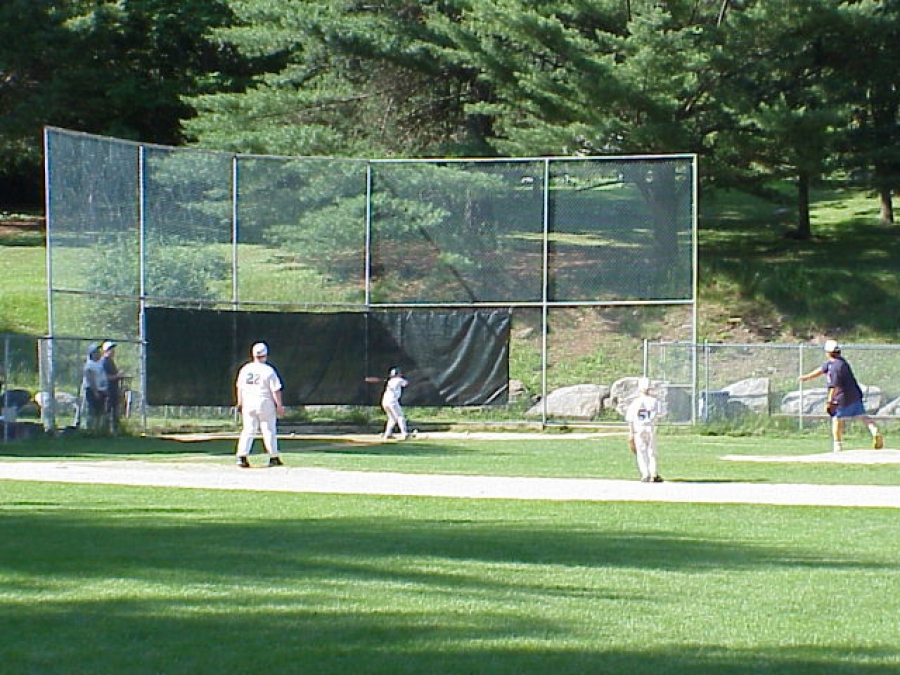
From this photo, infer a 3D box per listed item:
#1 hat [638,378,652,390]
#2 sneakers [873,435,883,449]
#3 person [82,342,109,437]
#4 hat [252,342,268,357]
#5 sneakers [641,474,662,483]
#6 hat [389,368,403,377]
[{"bbox_3d":[5.237,1.276,58.154,0.431,0.386,0.244,5,-9,-37],"label":"hat"},{"bbox_3d":[12.263,3.065,61.839,0.280,0.701,0.298,-3,30,7],"label":"sneakers"},{"bbox_3d":[-10.522,1.459,63.471,0.469,2.495,0.791,1,4,44],"label":"person"},{"bbox_3d":[-5.405,0.338,59.990,0.474,0.373,0.351,-7,3,20],"label":"hat"},{"bbox_3d":[5.415,3.772,57.769,0.597,0.250,0.200,-3,6,-19],"label":"sneakers"},{"bbox_3d":[-1.733,1.076,66.833,0.313,0.311,0.236,17,33,39],"label":"hat"}]
